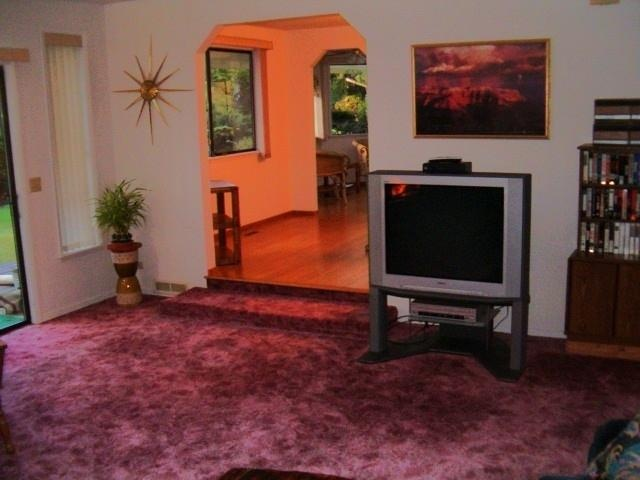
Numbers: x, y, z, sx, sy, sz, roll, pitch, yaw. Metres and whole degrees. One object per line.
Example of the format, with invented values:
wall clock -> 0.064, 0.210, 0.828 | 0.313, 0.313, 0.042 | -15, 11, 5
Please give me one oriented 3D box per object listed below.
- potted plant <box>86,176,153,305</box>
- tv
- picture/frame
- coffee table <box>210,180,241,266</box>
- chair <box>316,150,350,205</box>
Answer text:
potted plant -> -2.332, 0.030, 5.996 | 0.605, 1.418, 0.610 | -4, 12, -8
tv -> 1.099, -0.048, 4.286 | 1.310, 0.957, 0.470 | 3, 10, 29
picture/frame -> 1.483, -1.380, 4.561 | 0.999, 0.702, 0.036 | 2, 10, 21
coffee table -> -1.217, -0.291, 6.637 | 0.369, 0.972, 1.335 | -5, 12, -11
chair -> 0.251, -1.292, 10.173 | 0.616, 0.971, 1.760 | -2, 12, 1
